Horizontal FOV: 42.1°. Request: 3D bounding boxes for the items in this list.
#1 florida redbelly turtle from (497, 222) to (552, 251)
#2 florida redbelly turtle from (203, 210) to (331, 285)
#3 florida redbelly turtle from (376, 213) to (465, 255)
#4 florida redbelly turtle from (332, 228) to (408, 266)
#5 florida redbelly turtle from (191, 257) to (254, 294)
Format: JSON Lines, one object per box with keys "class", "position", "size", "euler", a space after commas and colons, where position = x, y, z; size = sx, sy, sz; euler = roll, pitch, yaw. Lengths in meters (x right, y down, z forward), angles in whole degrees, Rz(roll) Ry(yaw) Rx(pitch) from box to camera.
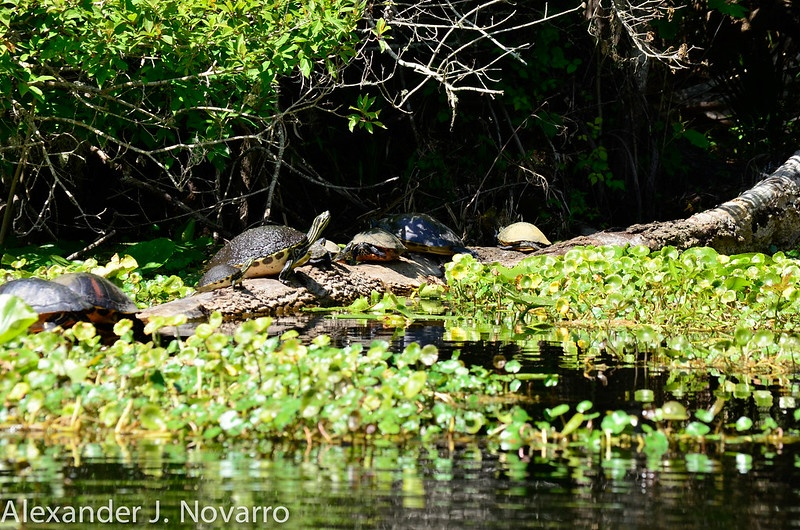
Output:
{"class": "florida redbelly turtle", "position": [1.700, -0.362, 14.367], "size": [0.756, 0.325, 0.508], "euler": [5, 16, 23]}
{"class": "florida redbelly turtle", "position": [-1.577, -0.136, 11.289], "size": [0.979, 0.342, 0.673], "euler": [-14, 6, 2]}
{"class": "florida redbelly turtle", "position": [0.313, -0.394, 13.754], "size": [0.874, 0.298, 0.619], "euler": [14, 2, 8]}
{"class": "florida redbelly turtle", "position": [-0.361, -0.166, 13.015], "size": [0.929, 0.445, 0.460], "euler": [-11, 18, -34]}
{"class": "florida redbelly turtle", "position": [-1.887, 0.054, 11.187], "size": [0.729, 0.254, 0.496], "euler": [2, 26, 20]}
